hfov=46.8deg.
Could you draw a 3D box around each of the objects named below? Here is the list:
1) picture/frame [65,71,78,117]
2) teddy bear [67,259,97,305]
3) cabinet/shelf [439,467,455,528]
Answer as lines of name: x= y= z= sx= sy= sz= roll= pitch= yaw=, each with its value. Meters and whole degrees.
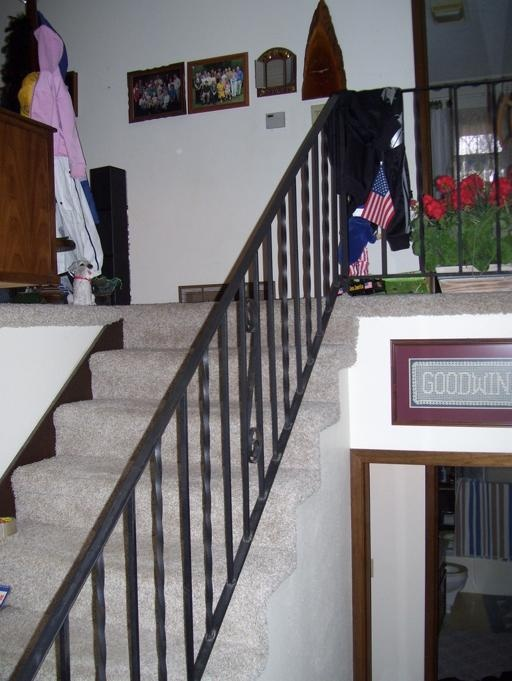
picture/frame: x=-1.482 y=-1.946 z=4.694 sx=0.116 sy=0.352 sz=0.061 roll=4 pitch=9 yaw=29
teddy bear: x=-0.863 y=-0.280 z=2.889 sx=0.105 sy=0.212 sz=0.275 roll=-4 pitch=10 yaw=-19
cabinet/shelf: x=2.077 y=1.689 z=6.428 sx=0.163 sy=0.647 sz=0.468 roll=2 pitch=9 yaw=18
